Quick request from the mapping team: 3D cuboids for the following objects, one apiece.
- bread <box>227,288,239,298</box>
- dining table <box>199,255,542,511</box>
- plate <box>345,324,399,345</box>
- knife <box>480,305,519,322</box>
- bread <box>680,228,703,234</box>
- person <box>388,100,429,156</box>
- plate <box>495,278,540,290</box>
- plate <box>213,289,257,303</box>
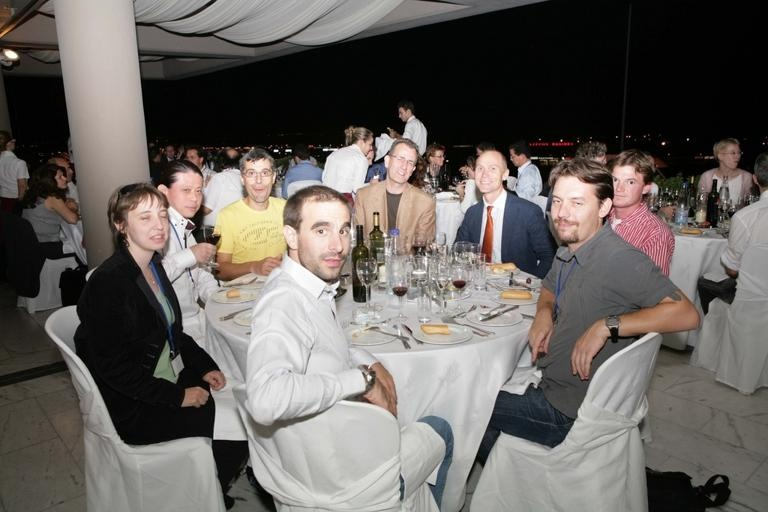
[{"bbox_3d":[-0.917,0.218,2.753,0.052,0.035,0.054,-2,-1,28],"label":"bread"},{"bbox_3d":[0.020,0.501,2.484,1.271,0.765,1.276,2,14,7],"label":"dining table"},{"bbox_3d":[-0.060,0.398,2.326,0.239,0.054,0.161,-1,12,-10],"label":"plate"},{"bbox_3d":[0.642,0.305,2.544,0.082,0.030,0.333,13,18,42],"label":"knife"},{"bbox_3d":[2.768,-0.222,4.088,0.155,0.048,0.097,1,2,6],"label":"bread"},{"bbox_3d":[0.407,-1.891,7.581,0.560,1.178,0.543,-25,31,-39],"label":"person"},{"bbox_3d":[0.847,0.181,2.925,0.298,0.056,0.092,-2,13,11],"label":"plate"},{"bbox_3d":[-0.894,0.241,2.756,0.147,0.016,0.148,-10,19,-44],"label":"plate"}]
